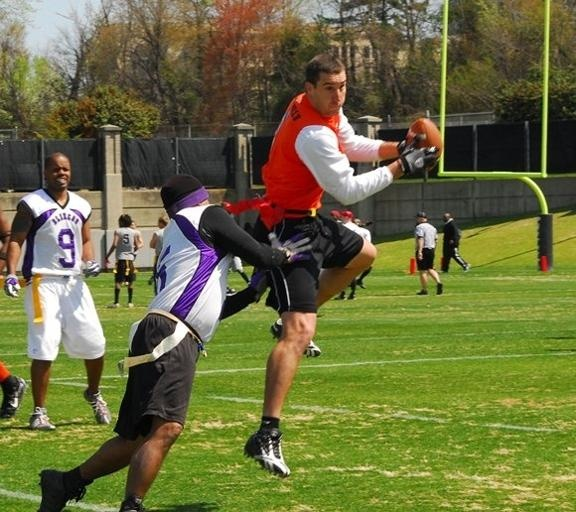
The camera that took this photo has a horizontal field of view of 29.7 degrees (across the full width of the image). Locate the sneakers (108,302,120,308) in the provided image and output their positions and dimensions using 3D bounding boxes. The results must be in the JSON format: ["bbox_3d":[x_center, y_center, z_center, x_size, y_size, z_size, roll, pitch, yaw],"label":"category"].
[{"bbox_3d":[-3.114,0.881,19.357,0.258,0.089,0.086,-3,-3,40],"label":"sneakers"}]

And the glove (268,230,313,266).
[{"bbox_3d":[0.030,-0.047,7.709,0.265,0.068,0.249,-27,57,-34],"label":"glove"}]

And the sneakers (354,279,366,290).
[{"bbox_3d":[1.572,0.616,23.232,0.363,0.148,0.118,32,12,-45],"label":"sneakers"}]

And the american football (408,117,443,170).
[{"bbox_3d":[1.059,-0.819,8.321,0.262,0.295,0.115,4,-30,40],"label":"american football"}]

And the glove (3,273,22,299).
[{"bbox_3d":[-2.342,0.242,9.206,0.149,0.091,0.259,3,37,-14],"label":"glove"}]

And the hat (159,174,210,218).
[{"bbox_3d":[-0.710,-0.410,7.411,0.378,0.237,0.259,-19,1,-20],"label":"hat"}]

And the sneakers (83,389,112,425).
[{"bbox_3d":[-1.584,1.254,9.056,0.159,0.335,0.158,-39,6,-29],"label":"sneakers"}]

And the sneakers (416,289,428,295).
[{"bbox_3d":[2.527,0.690,20.763,0.250,0.131,0.091,8,10,13],"label":"sneakers"}]

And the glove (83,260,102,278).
[{"bbox_3d":[-1.739,0.114,9.667,0.131,0.124,0.216,0,4,-14],"label":"glove"}]
